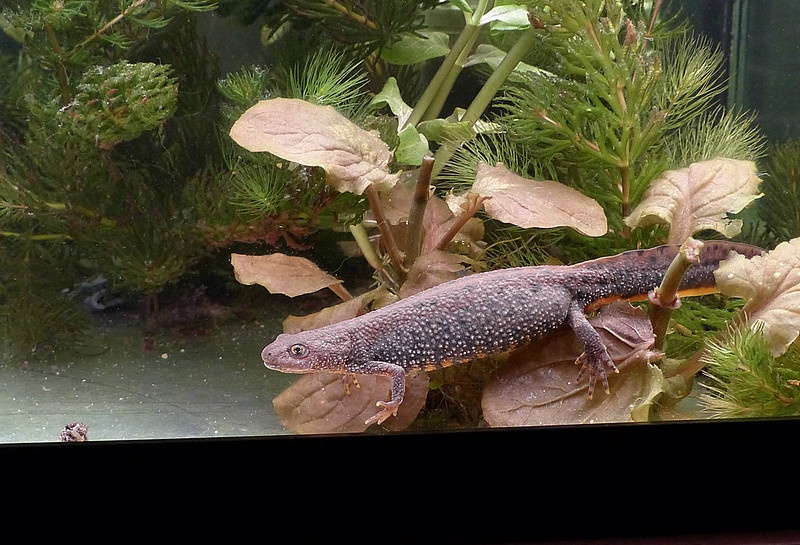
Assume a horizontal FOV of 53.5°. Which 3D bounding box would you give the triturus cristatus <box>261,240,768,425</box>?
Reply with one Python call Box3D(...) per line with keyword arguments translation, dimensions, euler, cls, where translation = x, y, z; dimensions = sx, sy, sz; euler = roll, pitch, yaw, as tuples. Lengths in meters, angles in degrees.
Box3D(translation=(0.256, 0.099, 1.855), dimensions=(1.100, 0.279, 0.459), euler=(-14, 20, 3), cls="triturus cristatus")
